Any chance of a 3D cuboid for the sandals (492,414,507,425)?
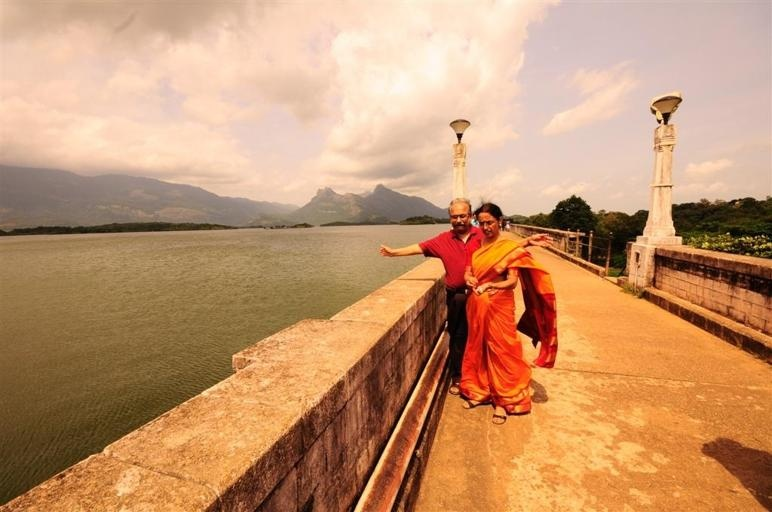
[{"bbox_3d":[1.680,2.423,6.403,0.220,0.106,0.136,3,6,9],"label":"sandals"}]
